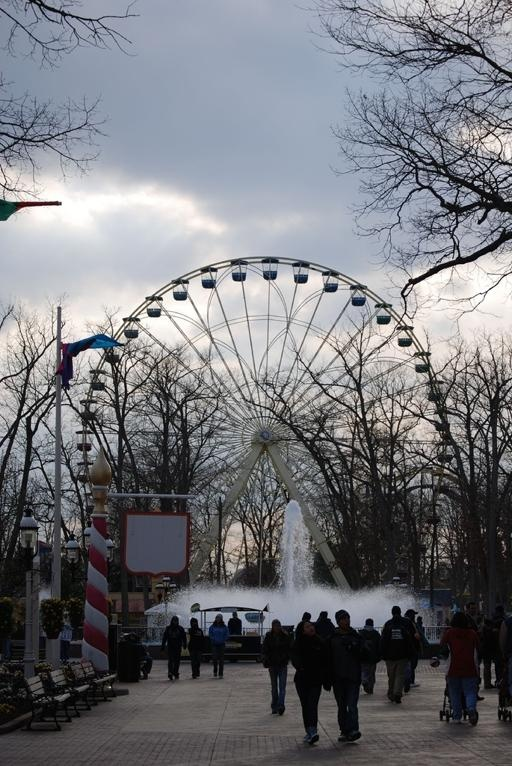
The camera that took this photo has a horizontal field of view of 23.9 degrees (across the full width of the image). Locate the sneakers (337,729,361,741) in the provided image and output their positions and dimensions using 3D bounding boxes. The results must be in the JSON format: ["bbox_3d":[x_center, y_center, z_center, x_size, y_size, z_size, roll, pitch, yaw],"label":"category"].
[{"bbox_3d":[1.105,4.068,14.020,0.257,0.094,0.286,-2,-11,0],"label":"sneakers"}]

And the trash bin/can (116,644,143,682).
[{"bbox_3d":[-2.701,5.872,25.621,0.342,0.850,1.284,-3,-10,7],"label":"trash bin/can"}]

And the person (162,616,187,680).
[{"bbox_3d":[-1.840,6.047,27.903,0.471,1.372,1.624,-1,-10,-4],"label":"person"}]
